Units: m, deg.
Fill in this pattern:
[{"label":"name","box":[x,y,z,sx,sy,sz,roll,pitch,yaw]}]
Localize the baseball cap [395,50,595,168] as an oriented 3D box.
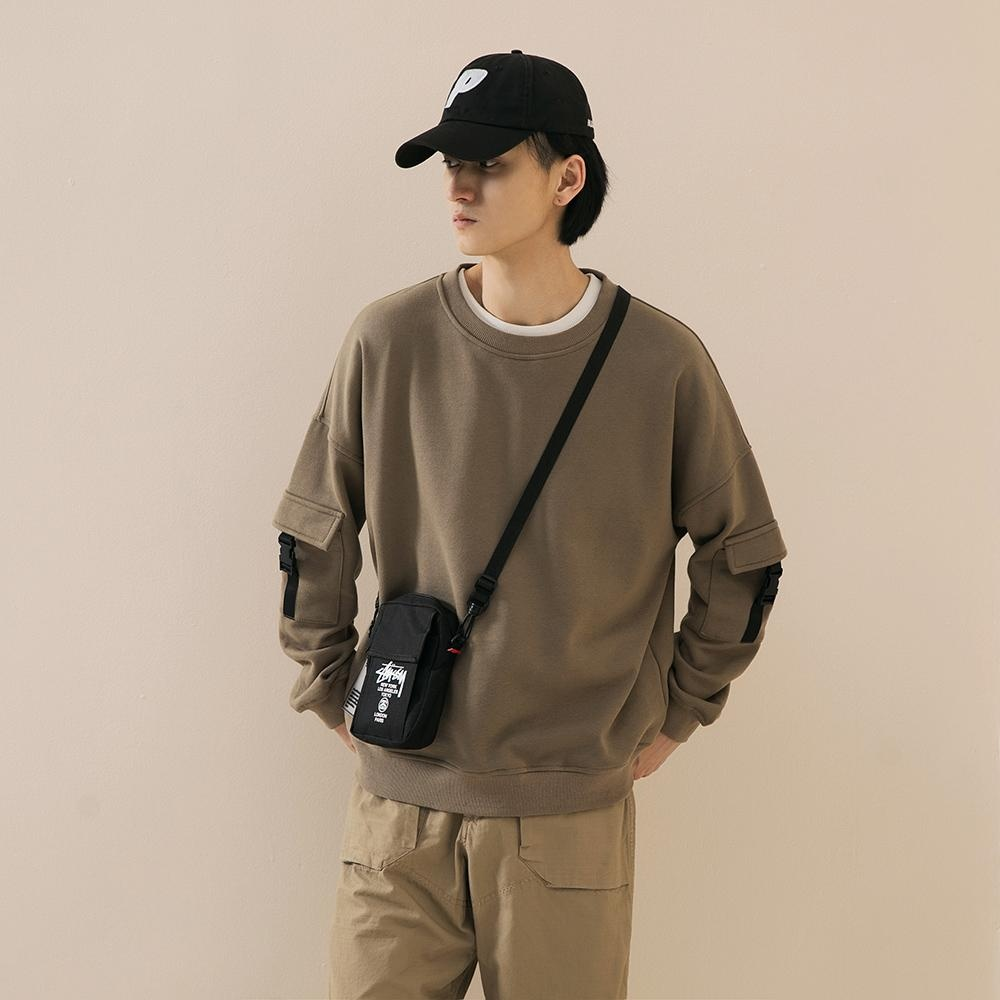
[{"label":"baseball cap","box":[0.009,-0.670,2.431,0.339,0.146,0.198,-10,25,-28]}]
